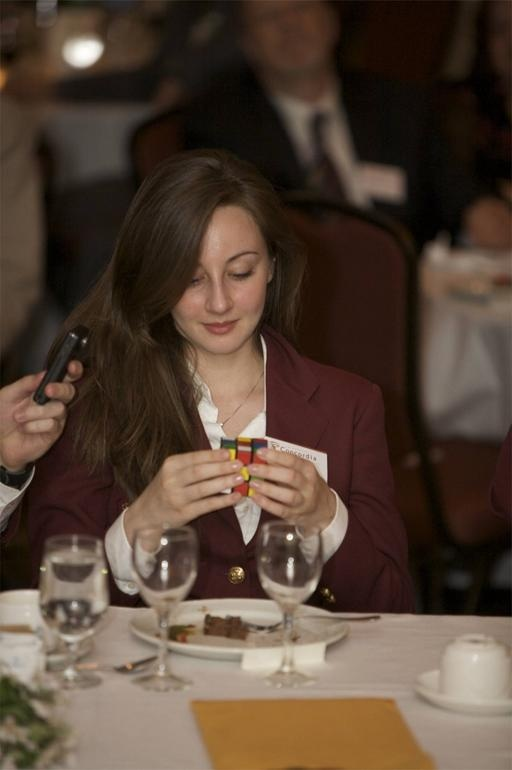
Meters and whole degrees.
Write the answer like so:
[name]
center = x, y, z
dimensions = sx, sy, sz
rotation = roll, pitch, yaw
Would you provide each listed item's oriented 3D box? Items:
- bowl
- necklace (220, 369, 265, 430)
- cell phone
[bowl]
center = 0.242, 0.309, 0.750
dimensions = 0.063, 0.056, 0.061
rotation = 0, -5, 0
[necklace]
center = -0.039, 0.053, 1.698
dimensions = 0.063, 0.039, 0.206
rotation = 31, 60, 7
[cell phone]
center = -0.396, -0.044, 1.292
dimensions = 0.062, 0.233, 0.056
rotation = 36, 32, 5
